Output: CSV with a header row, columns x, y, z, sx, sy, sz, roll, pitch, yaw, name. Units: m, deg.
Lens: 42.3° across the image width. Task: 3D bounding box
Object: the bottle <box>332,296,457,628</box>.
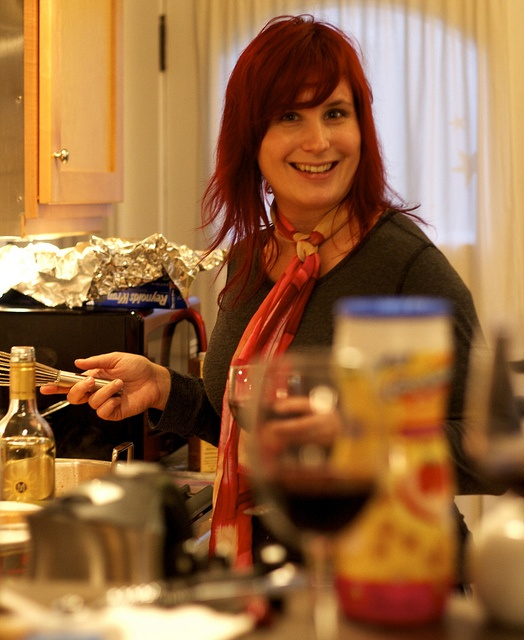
x,y,z,sx,sy,sz,roll,pitch,yaw,name
0.072,0.074,0.377,0.062,0.163,0.097,0,12,11,bottle
